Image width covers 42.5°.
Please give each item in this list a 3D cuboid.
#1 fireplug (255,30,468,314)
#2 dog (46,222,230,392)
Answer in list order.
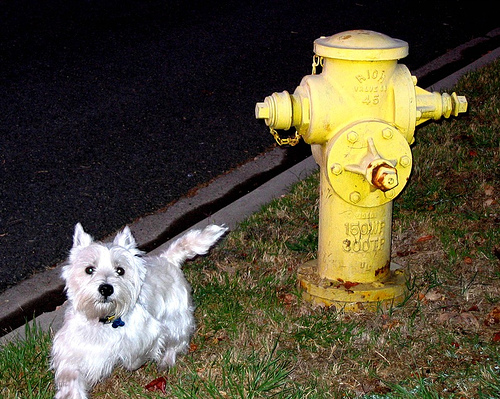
[{"bbox_3d":[0.672,-0.136,4.181,1.120,1.779,0.665,3,27,10],"label":"fireplug"},{"bbox_3d":[-0.683,0.596,4.400,0.646,1.033,1.562,7,11,25],"label":"dog"}]
